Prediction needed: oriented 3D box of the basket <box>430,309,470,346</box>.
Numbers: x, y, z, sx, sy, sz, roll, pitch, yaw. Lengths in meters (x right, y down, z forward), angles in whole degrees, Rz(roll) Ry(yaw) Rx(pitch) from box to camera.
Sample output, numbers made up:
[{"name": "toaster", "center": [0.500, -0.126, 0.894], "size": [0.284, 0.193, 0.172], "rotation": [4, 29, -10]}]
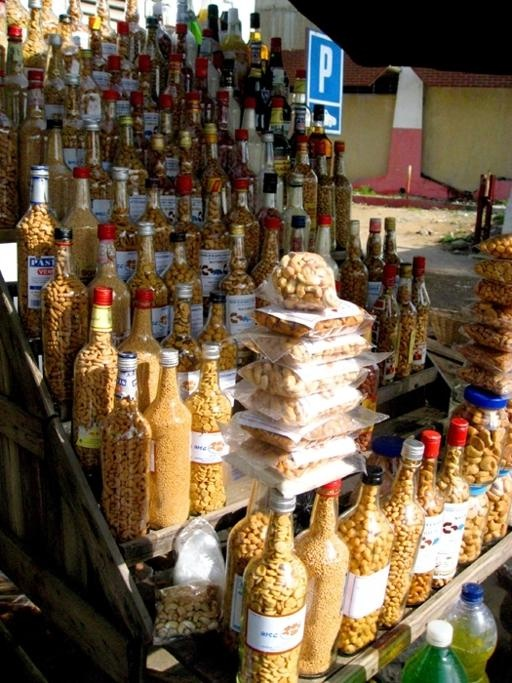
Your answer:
[{"name": "basket", "center": [0.679, -0.052, 2.135], "size": [0.135, 0.086, 0.125], "rotation": [3, 12, -9]}]
